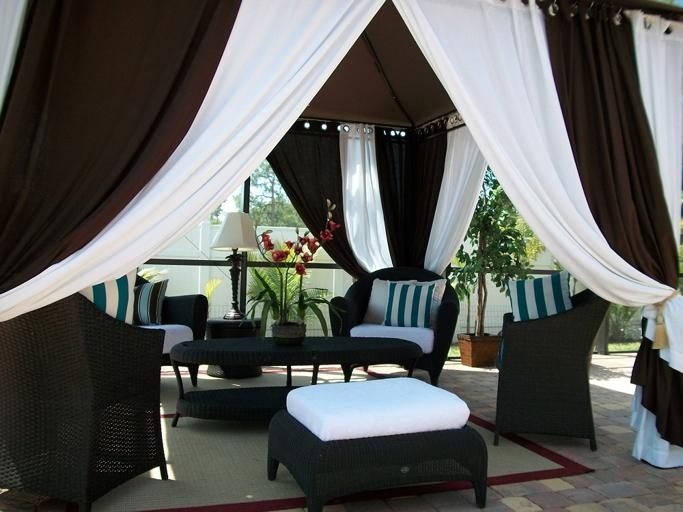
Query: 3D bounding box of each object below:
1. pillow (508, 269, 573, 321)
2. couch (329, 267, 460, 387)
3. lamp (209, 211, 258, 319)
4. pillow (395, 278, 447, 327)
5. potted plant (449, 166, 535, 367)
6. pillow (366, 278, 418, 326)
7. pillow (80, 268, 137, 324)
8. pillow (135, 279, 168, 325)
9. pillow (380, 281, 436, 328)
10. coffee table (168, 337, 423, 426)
[{"bbox_3d":[1.389,0.268,3.437,0.442,0.417,0.311,0,-3,29],"label":"pillow"},{"bbox_3d":[0.634,0.607,5.167,1.022,1.225,1.056,0,-4,19],"label":"couch"},{"bbox_3d":[-1.101,0.122,5.273,0.502,1.234,0.510,3,-5,-28],"label":"lamp"},{"bbox_3d":[0.798,0.448,5.108,0.569,0.494,0.431,0,-3,26],"label":"pillow"},{"bbox_3d":[1.698,0.231,5.885,0.865,2.089,0.548,2,-4,0],"label":"potted plant"},{"bbox_3d":[0.395,0.459,5.162,0.403,0.487,0.177,1,-13,20],"label":"pillow"},{"bbox_3d":[-1.111,0.183,2.351,0.165,0.247,0.197,4,2,-13],"label":"pillow"},{"bbox_3d":[-1.795,0.444,4.654,0.383,0.352,0.154,5,-7,35],"label":"pillow"},{"bbox_3d":[0.671,0.472,4.932,0.495,0.417,0.238,1,1,13],"label":"pillow"},{"bbox_3d":[-0.527,0.776,3.471,1.313,0.481,0.691,0,0,-21],"label":"coffee table"}]
